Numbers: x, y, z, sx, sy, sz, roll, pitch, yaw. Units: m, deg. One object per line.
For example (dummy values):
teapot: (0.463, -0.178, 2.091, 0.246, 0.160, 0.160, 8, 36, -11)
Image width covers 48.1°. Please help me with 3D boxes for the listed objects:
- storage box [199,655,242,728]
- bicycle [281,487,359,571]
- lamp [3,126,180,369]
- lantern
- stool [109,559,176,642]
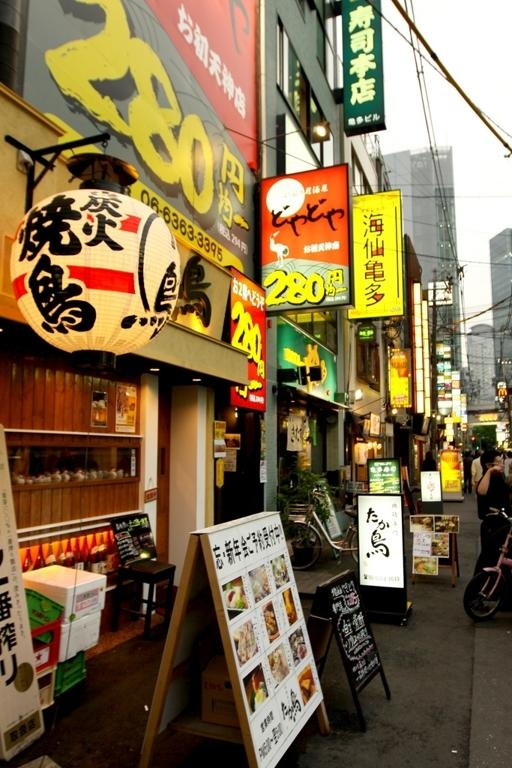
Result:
storage box: (-0.173, 1.765, 3.318, 0.259, 0.281, 0.248, -2, -6, 20)
bicycle: (1.373, 2.556, 10.117, 1.935, 1.452, 0.807, -1, 3, 9)
lamp: (-0.948, -0.734, 3.931, 1.060, 2.074, 1.238, -1, -1, 11)
lantern: (-0.866, -0.591, 3.221, 0.917, 0.859, 0.447, -4, -1, -27)
stool: (-1.183, 2.205, 6.168, 0.593, 0.895, 0.721, -1, -4, 23)
